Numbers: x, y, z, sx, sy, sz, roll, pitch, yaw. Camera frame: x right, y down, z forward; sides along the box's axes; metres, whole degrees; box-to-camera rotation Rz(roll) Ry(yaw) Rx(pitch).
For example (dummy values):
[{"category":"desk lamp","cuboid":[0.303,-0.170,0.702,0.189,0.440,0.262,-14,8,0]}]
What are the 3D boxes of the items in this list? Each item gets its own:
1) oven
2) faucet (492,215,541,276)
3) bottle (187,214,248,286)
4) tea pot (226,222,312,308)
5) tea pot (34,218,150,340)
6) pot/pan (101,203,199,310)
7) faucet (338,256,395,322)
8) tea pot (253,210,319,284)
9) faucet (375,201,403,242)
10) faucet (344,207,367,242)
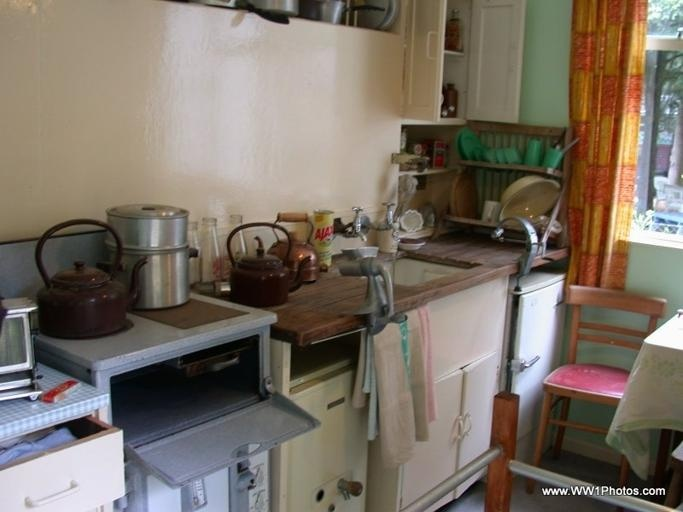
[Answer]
[{"category":"oven","cuboid":[-0.508,0.371,1.651,0.780,0.294,0.602,4,7,36]},{"category":"faucet","cuboid":[0.944,-0.082,2.985,0.240,0.297,0.507,3,14,17]},{"category":"bottle","cuboid":[-0.469,-0.014,2.038,0.128,0.305,0.226,10,14,26]},{"category":"tea pot","cuboid":[-0.280,0.043,2.069,0.223,0.305,0.364,3,0,44]},{"category":"tea pot","cuboid":[-0.689,0.078,1.576,0.250,0.327,0.362,1,1,36]},{"category":"pot/pan","cuboid":[-0.526,0.000,1.747,0.332,0.312,0.263,-6,9,-45]},{"category":"faucet","cuboid":[0.117,0.101,1.908,0.160,0.209,0.233,-14,18,-39]},{"category":"tea pot","cuboid":[-0.202,-0.050,2.263,0.265,0.292,0.277,3,19,-1]},{"category":"faucet","cuboid":[0.254,-0.182,2.912,0.113,0.217,0.327,0,13,7]},{"category":"faucet","cuboid":[0.068,-0.145,2.668,0.152,0.154,0.145,6,18,0]}]
